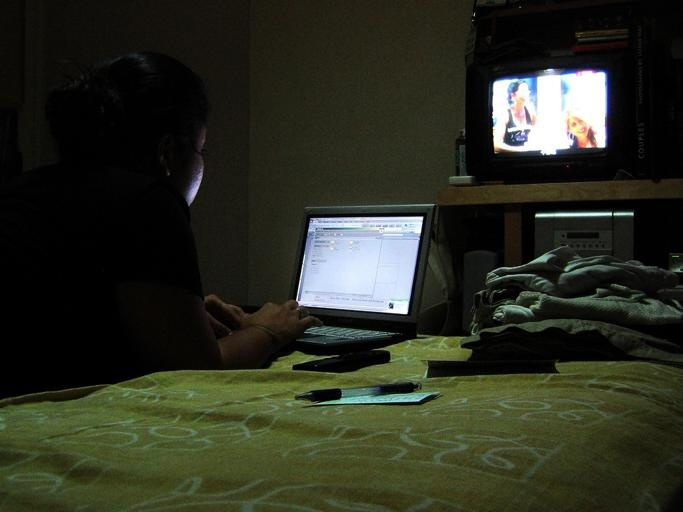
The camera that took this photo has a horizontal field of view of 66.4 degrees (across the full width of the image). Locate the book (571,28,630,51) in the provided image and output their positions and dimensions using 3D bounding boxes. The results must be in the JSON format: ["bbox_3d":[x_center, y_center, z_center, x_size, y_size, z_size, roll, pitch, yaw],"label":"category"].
[{"bbox_3d":[0.777,-0.649,1.563,0.133,0.048,0.095,4,10,35],"label":"book"}]

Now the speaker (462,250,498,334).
[{"bbox_3d":[0.415,0.107,1.604,0.128,0.236,0.093,3,-8,-6],"label":"speaker"}]

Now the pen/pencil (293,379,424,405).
[{"bbox_3d":[0.021,0.182,0.697,0.151,0.014,0.016,0,12,-33],"label":"pen/pencil"}]

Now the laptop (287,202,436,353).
[{"bbox_3d":[0.039,0.041,1.504,0.499,0.296,0.423,3,12,36],"label":"laptop"}]

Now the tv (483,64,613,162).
[{"bbox_3d":[0.661,-0.386,1.680,0.504,0.281,0.248,1,8,19],"label":"tv"}]

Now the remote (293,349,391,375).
[{"bbox_3d":[0.003,0.178,0.959,0.054,0.016,0.171,5,6,41],"label":"remote"}]

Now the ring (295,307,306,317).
[{"bbox_3d":[-0.098,0.128,1.201,0.018,0.019,0.022,4,27,12],"label":"ring"}]
